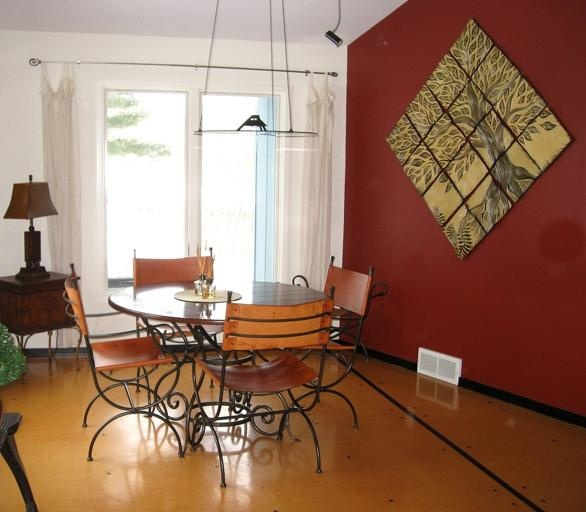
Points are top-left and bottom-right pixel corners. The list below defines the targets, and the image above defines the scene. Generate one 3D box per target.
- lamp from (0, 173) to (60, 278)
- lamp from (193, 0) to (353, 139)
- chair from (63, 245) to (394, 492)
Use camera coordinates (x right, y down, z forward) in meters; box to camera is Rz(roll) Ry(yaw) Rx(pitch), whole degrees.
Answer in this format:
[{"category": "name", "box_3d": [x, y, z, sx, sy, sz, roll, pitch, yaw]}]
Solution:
[{"category": "lamp", "box_3d": [-2.171, -0.253, 4.240, 0.376, 0.824, 0.468, -4, 9, -31]}, {"category": "lamp", "box_3d": [-0.231, -1.708, 4.588, 1.040, 1.553, 0.496, -1, 39, -3]}, {"category": "chair", "box_3d": [-0.405, 0.550, 3.487, 1.845, 1.101, 1.867, 2, 8, 9]}]
